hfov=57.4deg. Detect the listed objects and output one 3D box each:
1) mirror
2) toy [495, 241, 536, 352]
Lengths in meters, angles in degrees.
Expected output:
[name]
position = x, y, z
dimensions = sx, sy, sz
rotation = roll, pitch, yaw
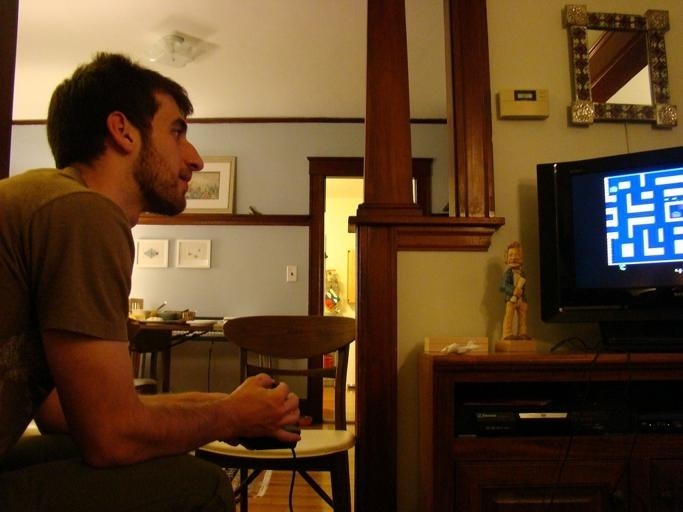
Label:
[mirror]
position = 1.237, -0.841, 2.771
dimensions = 0.498, 0.631, 0.078
rotation = 2, -14, -7
[toy]
position = 0.706, 0.160, 2.554
dimensions = 0.135, 0.430, 0.329
rotation = -1, -3, 14
